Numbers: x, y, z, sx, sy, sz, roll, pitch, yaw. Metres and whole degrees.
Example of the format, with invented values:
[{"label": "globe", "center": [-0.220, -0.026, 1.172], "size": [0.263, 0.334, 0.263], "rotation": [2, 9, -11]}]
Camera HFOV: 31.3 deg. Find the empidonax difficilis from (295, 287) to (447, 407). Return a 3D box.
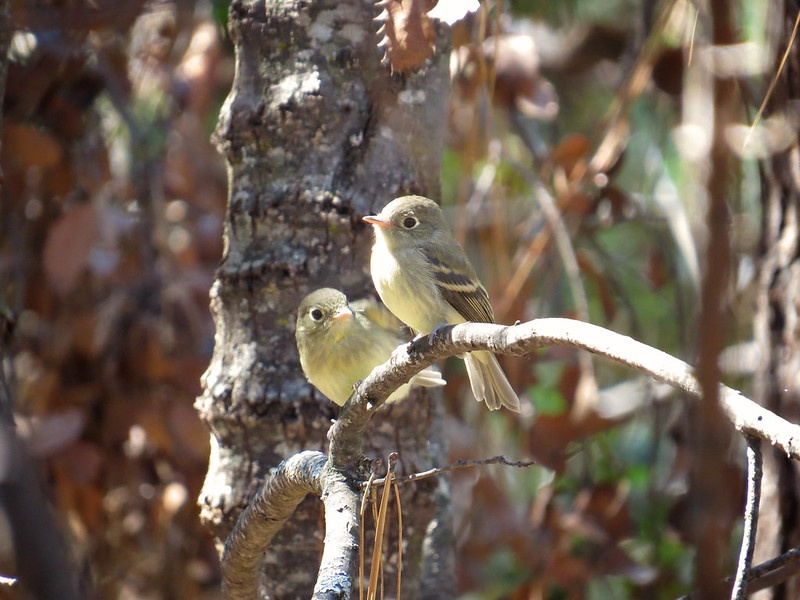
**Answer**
[{"label": "empidonax difficilis", "center": [-0.217, 0.223, 7.790], "size": [0.530, 0.710, 1.014], "rotation": [-4, 9, 25]}]
